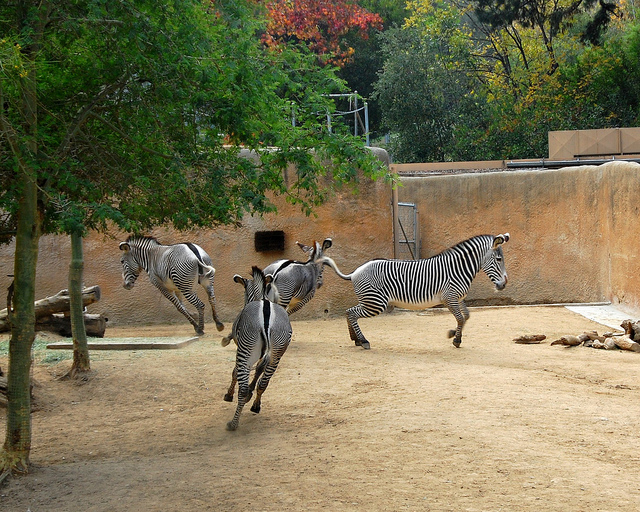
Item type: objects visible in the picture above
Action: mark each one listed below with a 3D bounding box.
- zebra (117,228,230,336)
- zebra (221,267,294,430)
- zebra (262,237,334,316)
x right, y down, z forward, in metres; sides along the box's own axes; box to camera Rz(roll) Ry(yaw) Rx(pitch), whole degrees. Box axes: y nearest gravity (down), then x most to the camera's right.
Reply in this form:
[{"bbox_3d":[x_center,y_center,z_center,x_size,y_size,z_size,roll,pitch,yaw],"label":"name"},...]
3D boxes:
[{"bbox_3d":[-2.426,0.412,14.064,2.368,1.740,0.798,-5,9,41],"label":"zebra"},{"bbox_3d":[-0.697,0.950,9.420,0.786,1.599,1.249,-4,11,-3],"label":"zebra"},{"bbox_3d":[-0.345,0.352,12.631,0.553,1.227,1.721,16,8,22],"label":"zebra"}]
